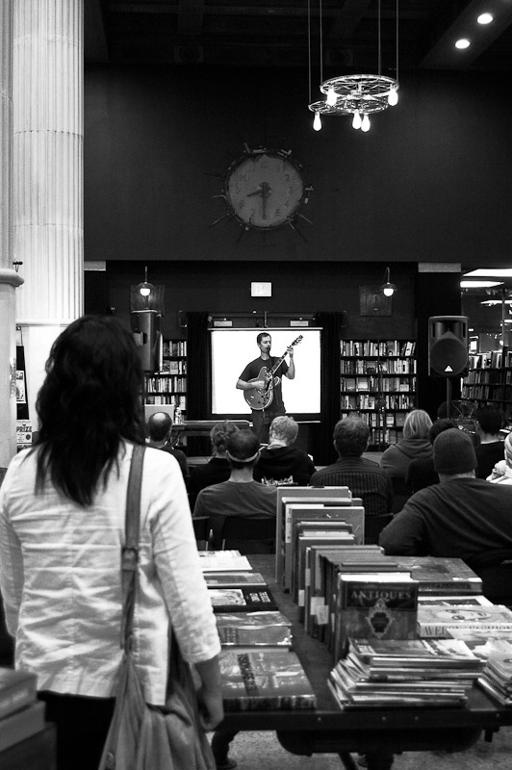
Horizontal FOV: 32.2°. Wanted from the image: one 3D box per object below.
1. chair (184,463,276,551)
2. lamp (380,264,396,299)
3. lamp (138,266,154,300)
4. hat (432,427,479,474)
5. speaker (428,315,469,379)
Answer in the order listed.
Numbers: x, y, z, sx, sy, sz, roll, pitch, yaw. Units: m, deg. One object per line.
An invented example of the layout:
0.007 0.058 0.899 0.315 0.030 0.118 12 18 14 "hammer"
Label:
-0.091 0.493 3.700 0.274 0.536 0.357 0 0 -3 "chair"
1.814 -1.376 12.032 0.192 0.346 0.403 10 4 8 "lamp"
-1.447 -1.337 11.779 0.198 0.307 0.429 9 5 -9 "lamp"
0.654 0.217 2.884 0.098 0.140 0.154 -4 -4 6 "hat"
1.697 -0.340 7.854 0.379 0.475 0.441 11 5 13 "speaker"
